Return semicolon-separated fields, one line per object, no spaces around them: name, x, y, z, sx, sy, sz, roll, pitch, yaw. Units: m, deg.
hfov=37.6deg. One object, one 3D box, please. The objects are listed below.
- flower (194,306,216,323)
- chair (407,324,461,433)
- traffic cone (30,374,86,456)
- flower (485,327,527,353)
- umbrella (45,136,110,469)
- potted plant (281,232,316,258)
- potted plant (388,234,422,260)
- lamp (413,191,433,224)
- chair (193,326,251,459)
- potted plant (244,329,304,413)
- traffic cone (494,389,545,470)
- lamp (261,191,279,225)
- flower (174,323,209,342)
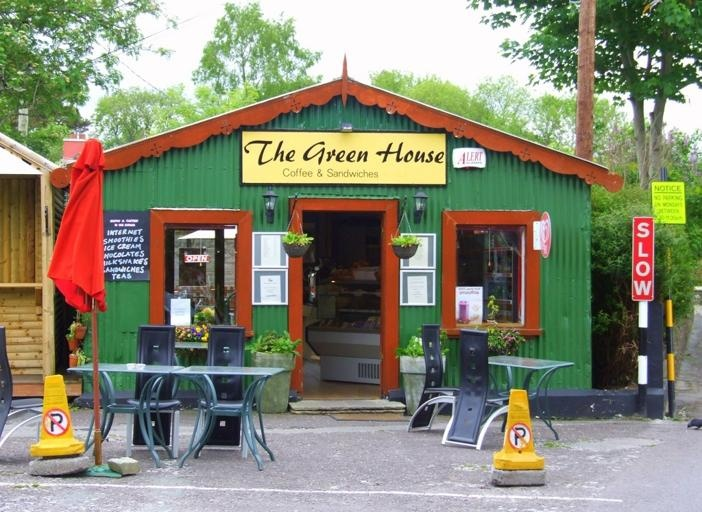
flower;-2.549;1.029;18.010;0.289;0.266;0.293;2;-6;-18
chair;1.563;2.030;16.835;1.038;1.698;1.008;7;2;41
traffic cone;-4.042;2.232;14.111;0.963;1.376;0.885;-2;-1;-9
flower;2.701;1.504;17.987;0.600;0.363;0.621;0;6;24
umbrella;-3.816;0.502;14.602;0.995;4.199;0.900;9;5;-14
potted plant;-0.926;-0.180;17.653;0.495;0.484;0.515;0;10;-3
potted plant;0.960;-0.131;17.874;0.506;0.471;0.468;1;10;2
lamp;1.254;-0.840;18.082;0.288;0.557;0.198;-1;10;-14
chair;-1.859;1.922;15.287;0.718;1.556;0.673;2;3;-9
potted plant;-1.333;1.975;17.876;0.831;1.360;0.806;1;-1;-18
traffic cone;2.338;2.407;14.337;0.717;1.186;0.780;2;-9;-7
lamp;-1.395;-0.834;17.910;0.251;0.557;0.170;0;10;-6
flower;-2.730;1.273;17.883;0.393;0.238;0.491;2;-2;-25
